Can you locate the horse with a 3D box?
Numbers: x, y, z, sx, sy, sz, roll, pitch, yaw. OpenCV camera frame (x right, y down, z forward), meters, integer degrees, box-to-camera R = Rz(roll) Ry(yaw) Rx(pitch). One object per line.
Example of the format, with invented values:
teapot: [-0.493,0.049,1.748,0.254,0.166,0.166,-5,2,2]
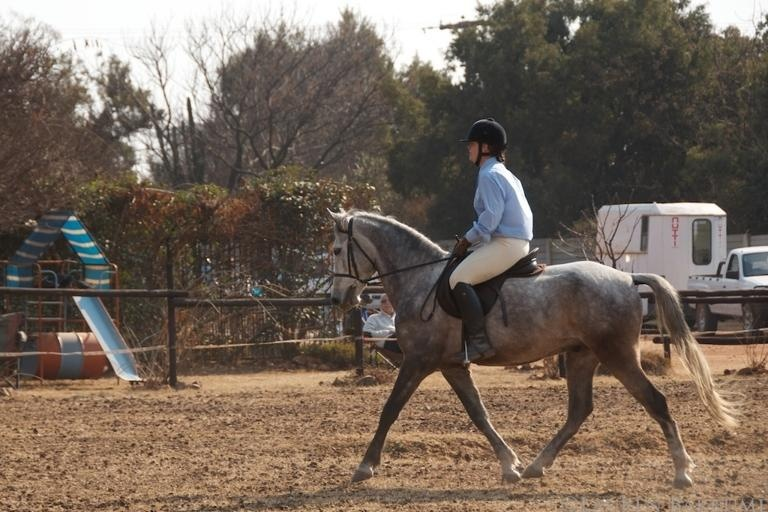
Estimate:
horse: [3.976,2.559,38.841,11.283,8.021,2.790,1,-4,9]

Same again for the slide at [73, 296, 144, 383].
slide: [-8.796,2.610,45.163,0.922,2.755,2.346,13,-3,-8]
